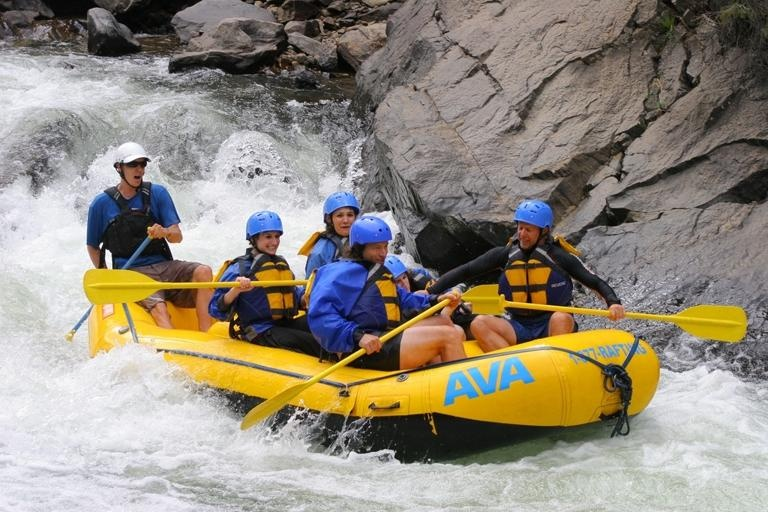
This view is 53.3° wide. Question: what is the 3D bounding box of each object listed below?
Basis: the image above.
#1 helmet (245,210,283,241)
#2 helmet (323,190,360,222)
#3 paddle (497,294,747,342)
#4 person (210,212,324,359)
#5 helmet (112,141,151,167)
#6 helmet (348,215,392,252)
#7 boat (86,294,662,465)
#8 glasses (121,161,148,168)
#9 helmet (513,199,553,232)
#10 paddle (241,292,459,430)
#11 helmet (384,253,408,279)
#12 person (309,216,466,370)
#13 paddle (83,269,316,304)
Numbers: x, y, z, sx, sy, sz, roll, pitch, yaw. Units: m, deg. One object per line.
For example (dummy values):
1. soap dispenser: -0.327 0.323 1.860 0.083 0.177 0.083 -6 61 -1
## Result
1. helmet: -1.126 -0.300 7.124 0.250 0.230 0.307 9 -37 -34
2. helmet: -0.413 -0.458 7.533 0.275 0.331 0.248 -1 38 -8
3. paddle: 2.205 0.568 6.976 3.015 0.432 0.321 3 -10 2
4. person: -0.935 0.230 7.100 1.422 1.203 1.019 1 7 26
5. helmet: -2.558 -1.004 7.708 0.399 0.233 0.495 -6 1 -33
6. helmet: -0.115 -0.190 6.632 0.261 0.241 0.328 -11 13 30
7. boat: 0.055 0.803 6.570 3.416 0.608 1.736 2 7 23
8. glasses: -2.444 -0.905 7.525 0.210 0.079 0.083 1 6 -32
9. helmet: 1.375 -0.369 6.926 0.353 0.220 0.254 -8 25 -33
10. paddle: -0.236 0.936 6.559 2.641 0.254 0.099 -24 17 -5
11. helmet: 0.097 0.088 6.903 0.170 0.120 0.240 -30 2 -9
12. person: -0.005 0.355 6.743 1.541 1.331 0.988 2 14 7
13. paddle: -1.786 0.195 6.884 2.042 0.281 0.071 -4 -14 18
